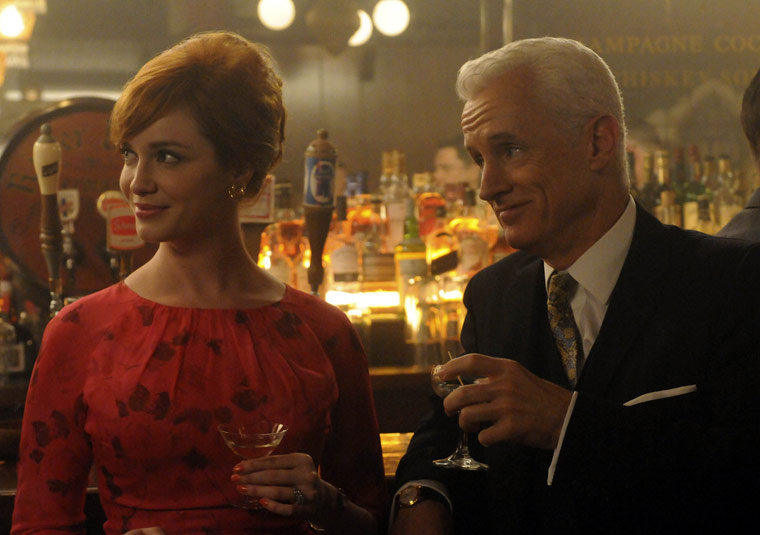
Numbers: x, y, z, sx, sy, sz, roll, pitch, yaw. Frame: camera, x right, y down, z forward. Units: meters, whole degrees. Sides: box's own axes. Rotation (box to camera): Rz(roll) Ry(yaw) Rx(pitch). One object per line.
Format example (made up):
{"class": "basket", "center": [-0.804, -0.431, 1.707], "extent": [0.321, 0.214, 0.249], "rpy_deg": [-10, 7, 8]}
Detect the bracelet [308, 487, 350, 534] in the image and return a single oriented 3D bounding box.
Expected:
{"class": "bracelet", "center": [-0.173, 0.804, 3.475], "extent": [0.126, 0.149, 0.287], "rpy_deg": [-3, 1, -3]}

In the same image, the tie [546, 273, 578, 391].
{"class": "tie", "center": [0.614, 0.229, 3.642], "extent": [0.080, 0.397, 0.100], "rpy_deg": [-7, -16, 22]}

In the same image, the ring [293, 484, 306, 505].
{"class": "ring", "center": [-0.252, 0.699, 3.273], "extent": [0.035, 0.050, 0.019], "rpy_deg": [-6, 5, -15]}

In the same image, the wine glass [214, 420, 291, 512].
{"class": "wine glass", "center": [-0.386, 0.629, 3.346], "extent": [0.259, 0.298, 0.240], "rpy_deg": [0, -10, 0]}
